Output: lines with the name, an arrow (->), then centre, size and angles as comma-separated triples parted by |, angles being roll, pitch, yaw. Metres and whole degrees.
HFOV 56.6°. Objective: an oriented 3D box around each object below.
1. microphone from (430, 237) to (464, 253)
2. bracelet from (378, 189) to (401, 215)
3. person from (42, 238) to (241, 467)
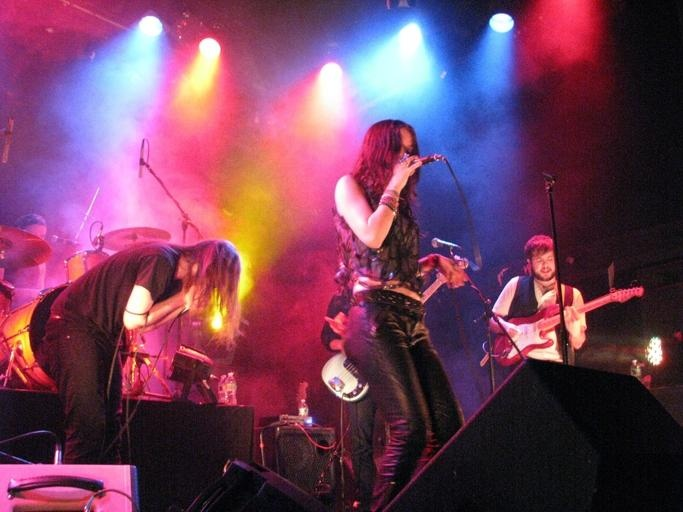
microphone -> 1.013, -0.105, 6.036 | 0.355, 0.113, 0.099 | 15, 3, -39
bracelet -> 0.288, -0.303, 3.745 | 0.102, 0.138, 0.138 | -8, -19, 33
person -> -1.408, 0.725, 4.436 | 1.198, 1.867, 0.702 | 7, 13, -12
